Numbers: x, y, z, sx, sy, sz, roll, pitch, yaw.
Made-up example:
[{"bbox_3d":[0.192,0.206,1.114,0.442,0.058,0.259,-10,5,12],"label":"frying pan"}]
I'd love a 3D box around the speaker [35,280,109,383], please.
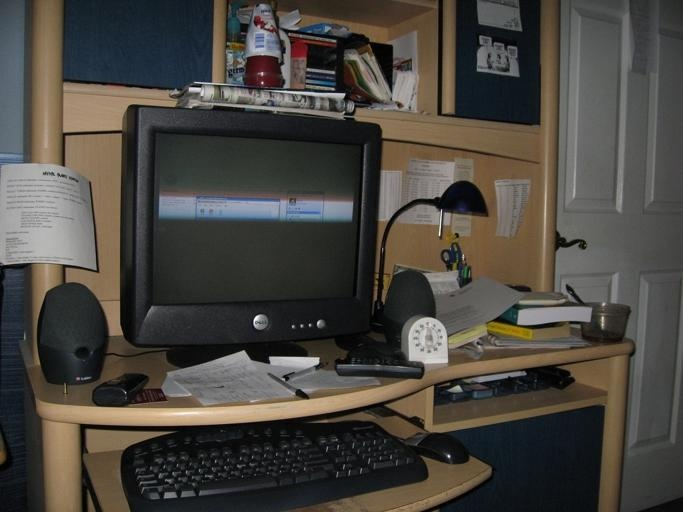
[{"bbox_3d":[-0.647,0.183,1.464,0.166,0.233,0.145,11,-22,-37],"label":"speaker"}]

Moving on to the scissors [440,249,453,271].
[{"bbox_3d":[0.368,0.014,2.136,0.024,0.067,0.047,-3,8,-39],"label":"scissors"}]

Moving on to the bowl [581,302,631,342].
[{"bbox_3d":[0.817,0.201,1.869,0.130,0.100,0.132,1,3,0],"label":"bowl"}]

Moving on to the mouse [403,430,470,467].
[{"bbox_3d":[0.237,0.450,1.464,0.122,0.039,0.071,13,14,39],"label":"mouse"}]

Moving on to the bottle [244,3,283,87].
[{"bbox_3d":[-0.215,-0.582,1.693,0.109,0.236,0.102,0,5,0],"label":"bottle"}]

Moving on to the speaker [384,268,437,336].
[{"bbox_3d":[0.206,0.130,1.747,0.047,0.193,0.135,-6,28,-39],"label":"speaker"}]

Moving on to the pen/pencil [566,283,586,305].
[{"bbox_3d":[0.867,0.135,2.269,0.027,0.027,0.131,26,-6,46],"label":"pen/pencil"}]

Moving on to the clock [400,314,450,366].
[{"bbox_3d":[0.220,0.221,1.616,0.112,0.124,0.074,1,-7,-17],"label":"clock"}]

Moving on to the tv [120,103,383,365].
[{"bbox_3d":[-0.262,-0.060,1.755,0.659,0.651,0.403,0,3,-19],"label":"tv"}]
